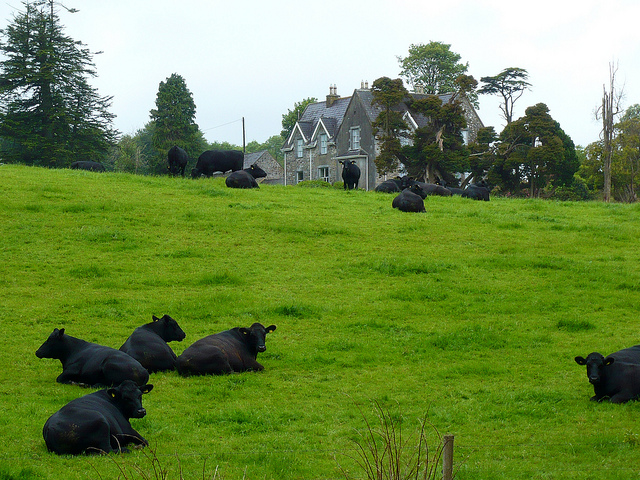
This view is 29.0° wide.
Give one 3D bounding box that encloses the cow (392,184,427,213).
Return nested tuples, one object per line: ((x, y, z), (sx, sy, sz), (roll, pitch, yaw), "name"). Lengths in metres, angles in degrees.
((4.373, -1.843, 57.658), (0.993, 0.929, 1.824), (3, 6, 16), "cow")

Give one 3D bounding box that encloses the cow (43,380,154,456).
((-6.447, 5.172, 36.323), (2.966, 1.823, 3.292), (0, 2, -17), "cow")

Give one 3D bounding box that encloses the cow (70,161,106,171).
((-12.447, -4.027, 66.519), (1.928, 0.464, 1.133), (2, 1, -35), "cow")

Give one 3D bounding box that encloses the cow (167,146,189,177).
((-7.387, -4.140, 64.691), (0.915, 1.558, 1.345), (2, 1, -6), "cow")

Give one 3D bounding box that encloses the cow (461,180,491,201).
((8.506, -2.630, 65.916), (0.921, 0.876, 1.756), (5, 9, 32), "cow")

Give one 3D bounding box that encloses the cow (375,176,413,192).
((4.124, -2.909, 64.683), (1.671, 0.883, 0.869), (-6, 5, 37), "cow")

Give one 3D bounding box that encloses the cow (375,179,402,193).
((3.723, -2.876, 65.248), (1.163, 0.601, 0.676), (-9, 13, -34), "cow")

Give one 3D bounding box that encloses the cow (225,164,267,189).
((-3.621, -2.962, 60.944), (1.051, 1.130, 2.039), (14, 19, 43), "cow")
